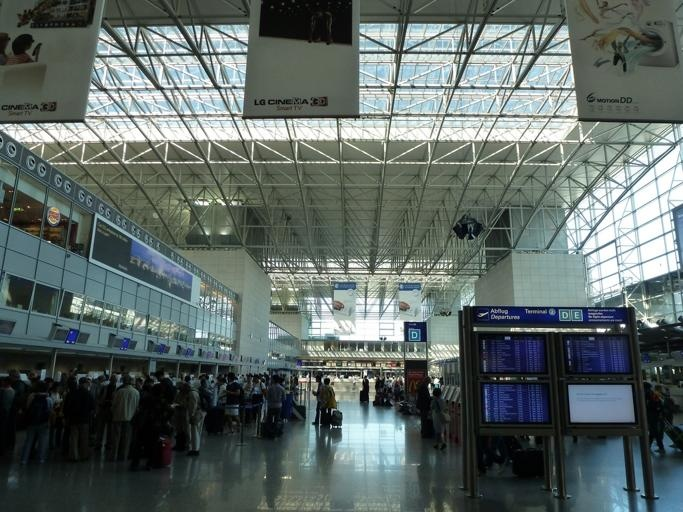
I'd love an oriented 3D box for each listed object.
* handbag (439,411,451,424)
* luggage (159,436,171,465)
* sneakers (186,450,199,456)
[{"bbox_3d":[3.029,4.621,15.462,0.171,0.276,0.847,-6,-19,16],"label":"handbag"},{"bbox_3d":[-4.106,4.538,12.512,0.203,0.631,0.466,2,-19,-7],"label":"luggage"},{"bbox_3d":[-3.816,5.058,13.873,0.273,0.130,0.238,5,-19,-17],"label":"sneakers"}]
